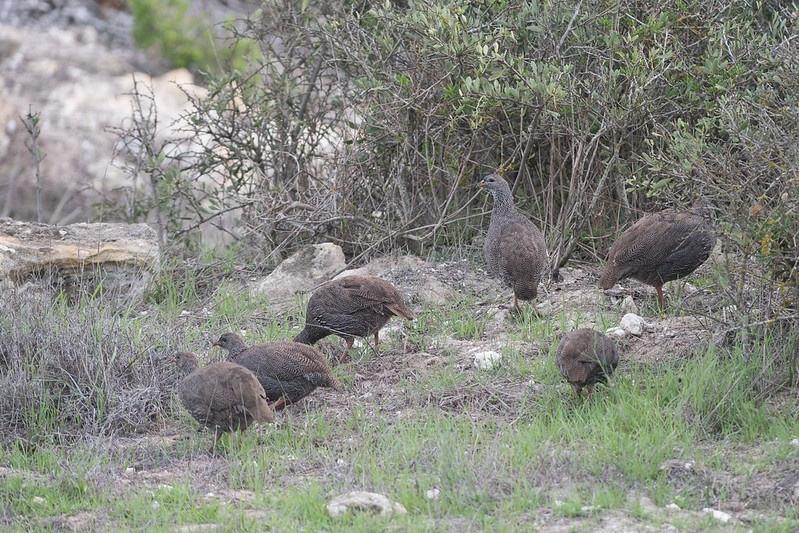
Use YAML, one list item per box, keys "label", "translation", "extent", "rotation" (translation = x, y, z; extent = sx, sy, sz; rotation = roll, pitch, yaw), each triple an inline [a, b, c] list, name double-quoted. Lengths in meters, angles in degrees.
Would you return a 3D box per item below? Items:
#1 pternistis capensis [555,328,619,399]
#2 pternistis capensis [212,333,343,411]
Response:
- label: "pternistis capensis"
  translation: [1.506, 0.732, 6.464]
  extent: [0.355, 0.395, 0.619]
  rotation: [-12, 16, 25]
- label: "pternistis capensis"
  translation: [-0.999, 0.903, 7.021]
  extent: [1.026, 0.633, 0.484]
  rotation: [7, 0, 8]
